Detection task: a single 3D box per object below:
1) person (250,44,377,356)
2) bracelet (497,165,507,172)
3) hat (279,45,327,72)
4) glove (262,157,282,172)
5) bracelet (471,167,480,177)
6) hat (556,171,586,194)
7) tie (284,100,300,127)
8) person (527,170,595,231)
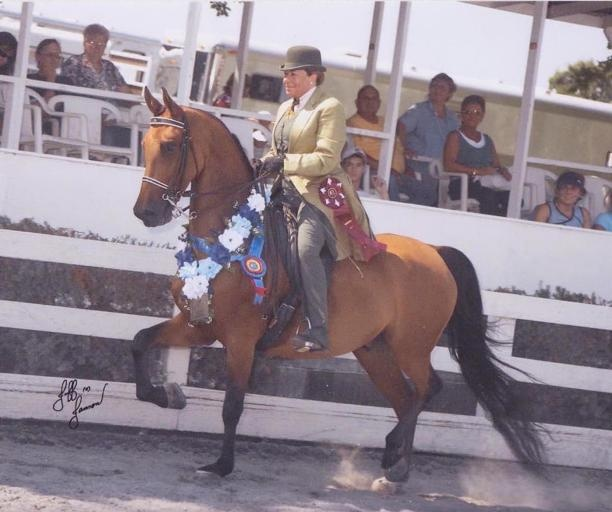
[{"bbox_3d":[0.062,-0.415,8.604,0.899,2.297,0.566,6,6,2],"label":"person"},{"bbox_3d":[1.832,-0.808,10.574,0.046,0.094,0.142,-19,-4,11],"label":"bracelet"},{"bbox_3d":[-0.012,-1.479,8.550,0.328,0.192,0.250,5,6,-1],"label":"hat"},{"bbox_3d":[-0.240,-0.684,8.513,0.155,0.115,0.082,5,6,-3],"label":"glove"},{"bbox_3d":[1.559,-0.756,10.383,0.070,0.049,0.018,2,7,-19],"label":"bracelet"},{"bbox_3d":[2.446,-0.670,10.409,0.260,0.195,0.335,7,6,12],"label":"hat"},{"bbox_3d":[-0.098,-1.084,8.644,0.064,0.166,0.122,12,-18,-3],"label":"tie"},{"bbox_3d":[2.403,-0.391,10.345,0.574,0.710,0.406,9,-11,-1],"label":"person"}]
